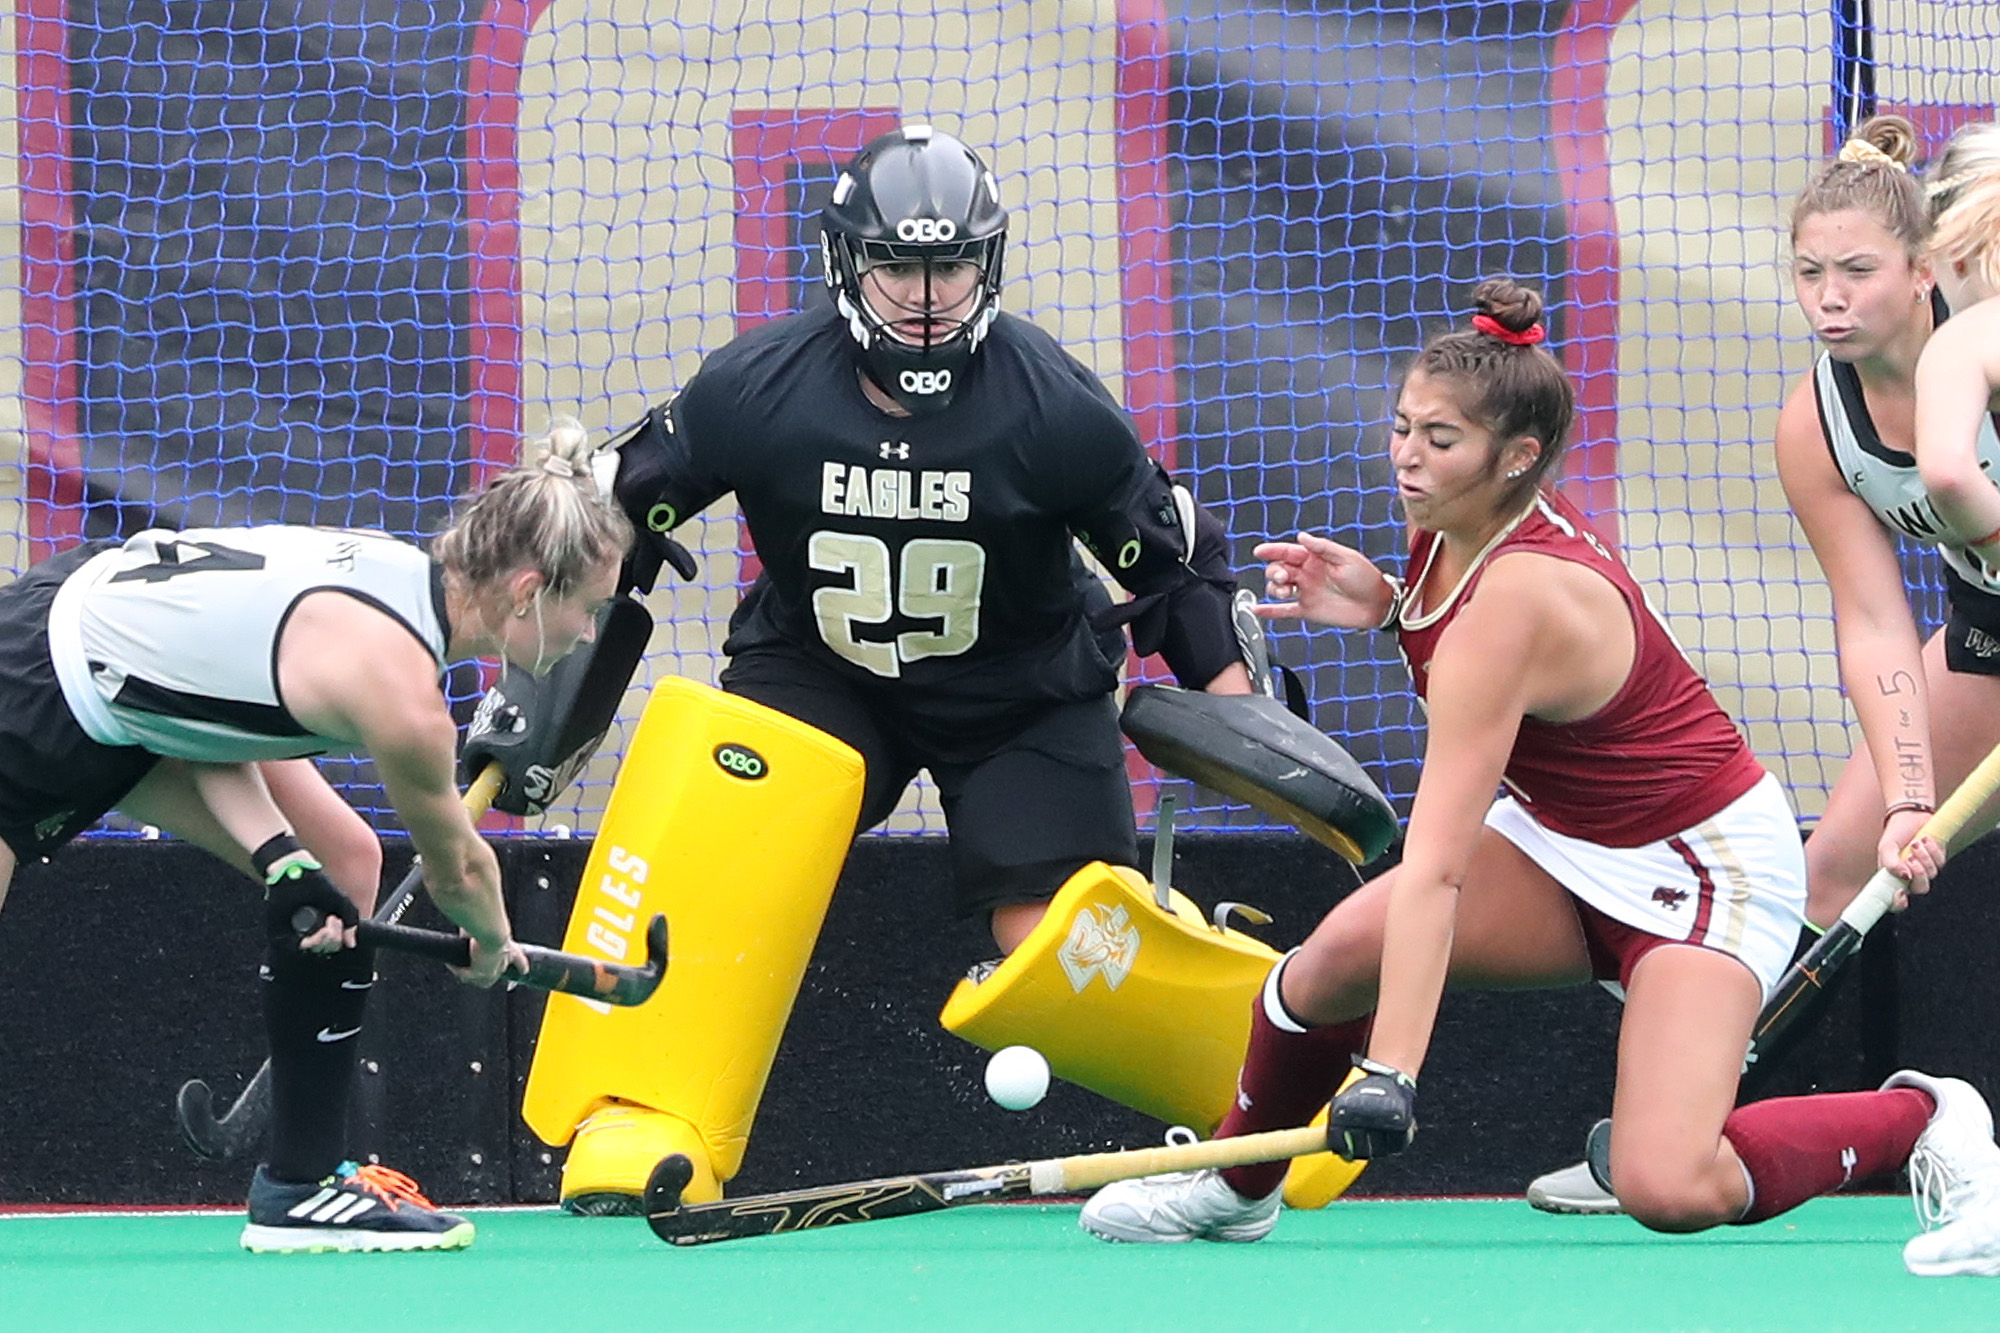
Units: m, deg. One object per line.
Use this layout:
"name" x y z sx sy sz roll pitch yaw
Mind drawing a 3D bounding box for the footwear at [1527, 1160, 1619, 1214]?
"footwear" 1.075 0.984 5.495 0.148 0.056 0.084 4 -1 0

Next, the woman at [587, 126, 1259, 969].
"woman" -0.106 -0.037 5.363 1.335 1.593 0.786 2 8 22

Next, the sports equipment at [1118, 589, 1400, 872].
"sports equipment" 0.443 0.131 5.268 0.556 0.224 0.240 33 -29 4

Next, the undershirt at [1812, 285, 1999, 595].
"undershirt" 1.698 -0.406 5.294 0.169 0.414 0.414 -43 43 -10

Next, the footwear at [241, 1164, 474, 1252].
"footwear" -1.112 0.953 5.103 0.445 0.160 0.152 1 -7 -7

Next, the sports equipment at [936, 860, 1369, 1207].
"sports equipment" 0.460 0.648 5.554 1.159 0.478 0.357 20 25 -30

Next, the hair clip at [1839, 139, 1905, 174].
"hair clip" 1.517 -0.897 5.138 0.100 0.034 0.072 22 11 32

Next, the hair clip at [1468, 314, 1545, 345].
"hair clip" 0.850 -0.554 4.852 0.086 0.024 0.066 13 -9 10

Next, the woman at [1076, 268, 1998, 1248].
"woman" 0.933 0.204 4.891 1.457 1.683 0.670 1 8 7

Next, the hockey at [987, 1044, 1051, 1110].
"hockey" 0.033 0.713 5.065 0.130 0.113 0.068 -7 0 4

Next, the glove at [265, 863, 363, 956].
"glove" -1.153 0.421 4.965 0.130 0.166 0.072 -33 12 3

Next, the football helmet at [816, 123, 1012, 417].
"football helmet" -0.142 -0.678 5.038 0.367 0.431 0.471 -2 26 -1

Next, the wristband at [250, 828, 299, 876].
"wristband" -1.254 0.329 5.125 0.080 0.046 0.091 -28 -4 -40

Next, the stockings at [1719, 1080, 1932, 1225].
"stockings" 1.375 0.805 4.980 0.500 0.149 0.197 -11 2 -4

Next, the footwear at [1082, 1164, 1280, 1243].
"footwear" 0.314 0.945 5.214 0.395 0.159 0.138 6 2 2

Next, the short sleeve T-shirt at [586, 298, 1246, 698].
"short sleeve T-shirt" -0.146 -0.301 5.311 0.823 0.421 0.263 8 22 -1

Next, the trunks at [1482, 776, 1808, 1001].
"trunks" 1.170 0.348 5.079 0.498 0.348 0.315 39 26 27

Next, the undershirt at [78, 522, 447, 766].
"undershirt" -1.231 -0.022 4.839 0.593 0.266 0.343 -1 43 5
